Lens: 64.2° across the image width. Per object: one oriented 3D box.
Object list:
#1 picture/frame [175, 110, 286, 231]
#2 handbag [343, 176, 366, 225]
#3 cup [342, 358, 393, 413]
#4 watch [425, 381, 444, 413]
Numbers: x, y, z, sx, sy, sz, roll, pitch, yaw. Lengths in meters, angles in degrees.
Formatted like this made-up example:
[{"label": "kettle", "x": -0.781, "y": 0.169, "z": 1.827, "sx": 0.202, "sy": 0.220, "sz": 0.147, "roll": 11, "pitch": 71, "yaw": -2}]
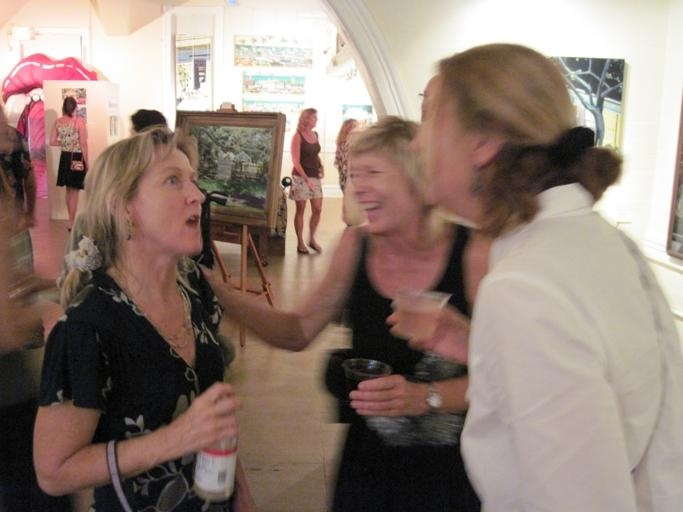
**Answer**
[{"label": "picture/frame", "x": -0.762, "y": -0.642, "z": 3.855, "sx": 1.156, "sy": 1.009, "sz": 0.119, "roll": 5, "pitch": 11, "yaw": 20}, {"label": "handbag", "x": 0.041, "y": -0.164, "z": 1.625, "sx": 0.028, "sy": 0.058, "sz": 0.163, "roll": -30, "pitch": -21, "yaw": -15}, {"label": "cup", "x": 0.076, "y": 0.363, "z": 1.570, "sx": 0.134, "sy": 0.107, "sz": 0.128, "roll": 5, "pitch": 9, "yaw": -1}, {"label": "watch", "x": 0.249, "y": 0.395, "z": 1.508, "sx": 0.057, "sy": 0.087, "sz": 0.022, "roll": -3, "pitch": -1, "yaw": 3}]
